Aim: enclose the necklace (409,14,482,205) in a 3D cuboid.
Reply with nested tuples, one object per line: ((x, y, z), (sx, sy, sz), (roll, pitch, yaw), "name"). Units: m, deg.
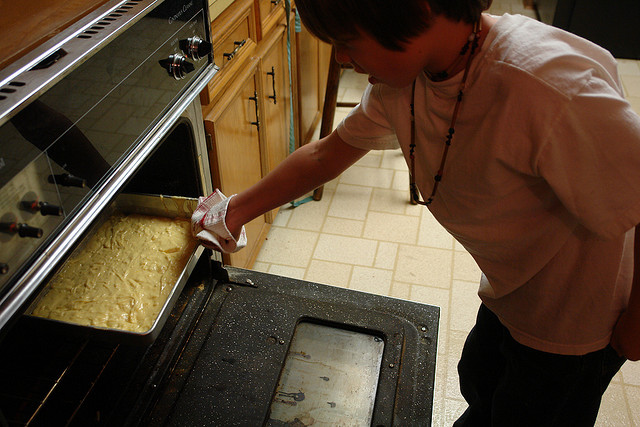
((0.280, -0.243, 1.245), (0.109, 0.382, 0.192), (7, 38, 8), "necklace")

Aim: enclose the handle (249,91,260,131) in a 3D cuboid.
((-0.304, -0.479, 2.222), (0.059, 0.216, 0.026), (0, 54, -3), "handle")

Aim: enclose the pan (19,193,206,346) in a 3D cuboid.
((-0.535, 0.167, 1.259), (0.402, 0.217, 0.311), (9, 35, 14), "pan")
